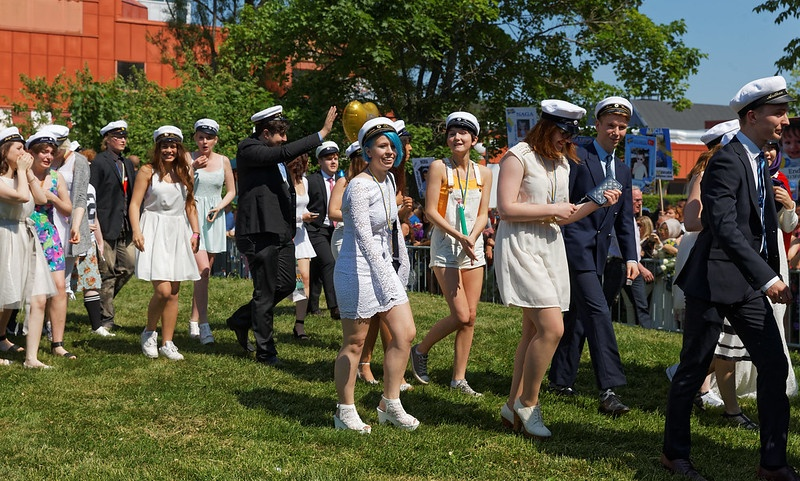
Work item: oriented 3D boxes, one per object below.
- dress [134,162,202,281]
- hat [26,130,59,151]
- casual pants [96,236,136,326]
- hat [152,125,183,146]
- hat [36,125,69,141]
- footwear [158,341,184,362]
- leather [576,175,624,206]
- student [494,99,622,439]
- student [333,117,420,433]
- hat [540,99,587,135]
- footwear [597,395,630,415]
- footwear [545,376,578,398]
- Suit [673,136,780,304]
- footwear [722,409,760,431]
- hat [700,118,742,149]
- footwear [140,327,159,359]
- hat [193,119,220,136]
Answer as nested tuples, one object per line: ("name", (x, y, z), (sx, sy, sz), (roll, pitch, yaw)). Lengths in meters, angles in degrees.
("dress", (-3.122, -0.173, 12.318), (0.818, 1.397, 0.683), (-2, 12, -16))
("hat", (-4.664, -1.310, 12.004), (0.372, 0.240, 0.350), (-3, 13, -24))
("casual pants", (-4.507, 0.464, 14.426), (0.533, 1.631, 0.503), (8, 17, 11))
("hat", (-3.131, -1.425, 12.392), (0.338, 0.219, 0.323), (-2, 12, -16))
("hat", (-4.679, -1.471, 12.340), (0.311, 0.110, 0.246), (13, 12, 12))
("footwear", (-3.023, 1.440, 12.223), (0.254, 0.184, 0.426), (-5, 14, -32))
("leather", (2.184, -0.518, 10.016), (0.431, 0.116, 0.261), (-39, 46, -9))
("student", (1.481, 0.289, 10.193), (0.919, 3.600, 0.851), (7, 12, 23))
("student", (-0.282, 0.385, 10.376), (1.009, 3.456, 0.981), (1, -3, -11))
("hat", (1.747, -1.430, 10.227), (0.364, 0.226, 0.446), (-10, 40, -47))
("footwear", (2.475, 1.935, 10.864), (0.162, 0.184, 0.387), (2, -6, -45))
("footwear", (1.990, 1.860, 11.572), (0.405, 0.171, 0.164), (-2, -4, 39))
("Suit", (3.408, -0.172, 10.389), (1.425, 2.075, 1.496), (0, 1, 26))
("footwear", (3.900, 2.074, 10.621), (0.337, 0.125, 0.137), (9, -4, 45))
("hat", (3.864, -1.290, 11.162), (0.529, 0.209, 0.411), (-23, 13, 6))
("footwear", (-3.322, 1.353, 12.237), (0.212, 0.330, 0.375), (-1, 12, -15))
("hat", (-2.708, -1.579, 12.861), (0.285, 0.213, 0.204), (1, 11, -4))
